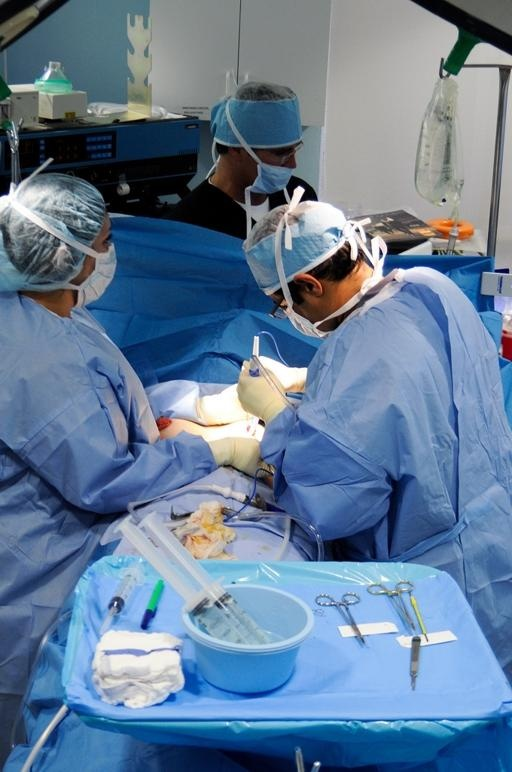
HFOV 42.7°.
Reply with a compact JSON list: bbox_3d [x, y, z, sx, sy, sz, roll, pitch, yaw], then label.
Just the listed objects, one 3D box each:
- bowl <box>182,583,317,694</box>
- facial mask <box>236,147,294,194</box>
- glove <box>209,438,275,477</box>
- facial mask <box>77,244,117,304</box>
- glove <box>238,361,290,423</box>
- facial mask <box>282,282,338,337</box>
[{"bbox_3d":[0.004,0.274,0.713,0.105,0.045,0.103,1,22,0],"label":"bowl"},{"bbox_3d":[0.022,-0.751,2.282,0.142,0.102,0.136,11,30,-2],"label":"facial mask"},{"bbox_3d":[-0.032,0.161,1.562,0.112,0.042,0.094,29,3,-11],"label":"glove"},{"bbox_3d":[-0.385,-0.270,1.569,0.140,0.108,0.114,-4,44,-16],"label":"facial mask"},{"bbox_3d":[0.016,0.021,1.550,0.112,0.146,0.050,-30,-17,-5],"label":"glove"},{"bbox_3d":[0.110,-0.182,1.513,0.102,0.104,0.058,20,19,-21],"label":"facial mask"}]
